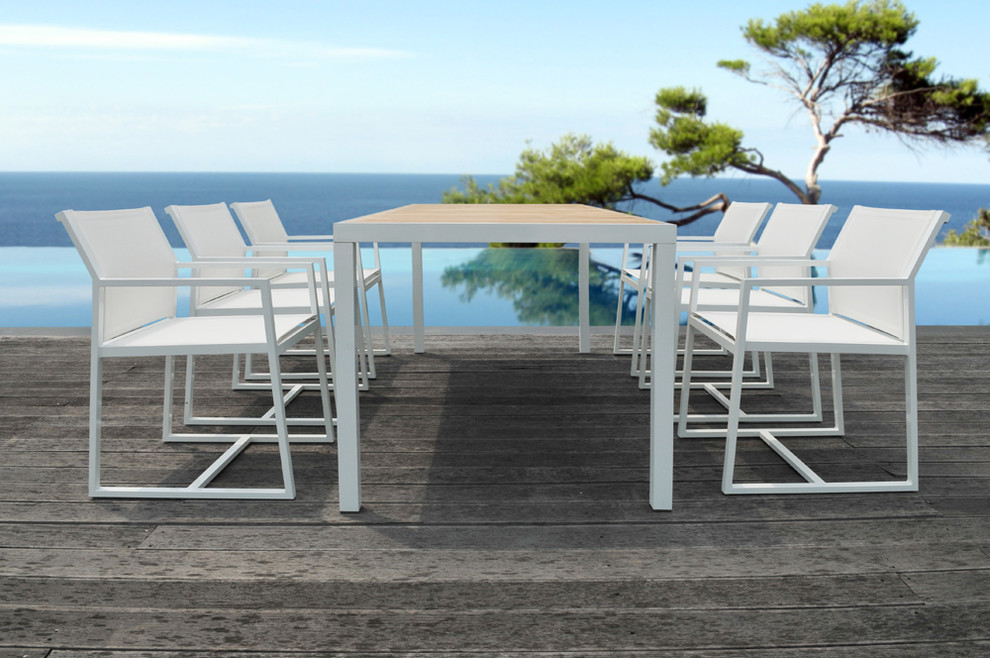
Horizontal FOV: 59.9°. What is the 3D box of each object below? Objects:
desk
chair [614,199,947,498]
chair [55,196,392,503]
[{"bbox_3d":[0.072,-0.085,3.662,1.217,0.759,1.859,1,11,4],"label":"desk"},{"bbox_3d":[0.845,0.019,3.627,1.313,1.235,1.499,0,2,-1],"label":"chair"},{"bbox_3d":[-0.950,0.040,3.548,1.286,1.136,1.264,0,7,-1],"label":"chair"}]
